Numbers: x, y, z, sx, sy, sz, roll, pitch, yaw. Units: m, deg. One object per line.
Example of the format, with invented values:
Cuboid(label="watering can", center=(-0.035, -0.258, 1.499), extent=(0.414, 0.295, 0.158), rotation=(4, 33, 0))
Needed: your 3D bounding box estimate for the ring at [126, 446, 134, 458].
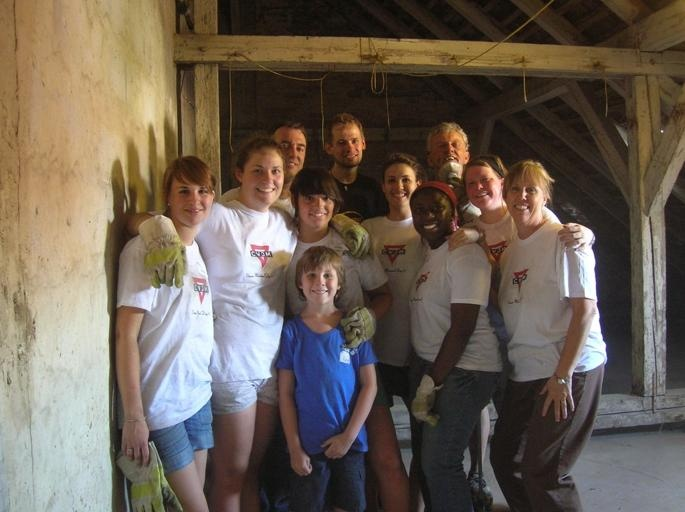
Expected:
Cuboid(label="ring", center=(-0.945, 0.865, 2.942), extent=(0.032, 0.041, 0.014), rotation=(-2, 11, -6))

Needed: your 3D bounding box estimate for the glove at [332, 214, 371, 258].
Cuboid(label="glove", center=(0.003, -0.127, 3.611), extent=(0.243, 0.088, 0.129), rotation=(42, -2, -9))

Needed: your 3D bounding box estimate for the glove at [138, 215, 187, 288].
Cuboid(label="glove", center=(-0.827, 0.037, 3.101), extent=(0.271, 0.156, 0.436), rotation=(20, -35, -5))

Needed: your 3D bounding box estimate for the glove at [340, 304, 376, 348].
Cuboid(label="glove", center=(0.067, 0.345, 3.495), extent=(0.211, 0.086, 0.173), rotation=(44, -19, -15))

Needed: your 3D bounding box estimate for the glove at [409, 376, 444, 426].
Cuboid(label="glove", center=(0.463, 0.758, 3.477), extent=(0.135, 0.191, 0.111), rotation=(-22, -10, 39))
